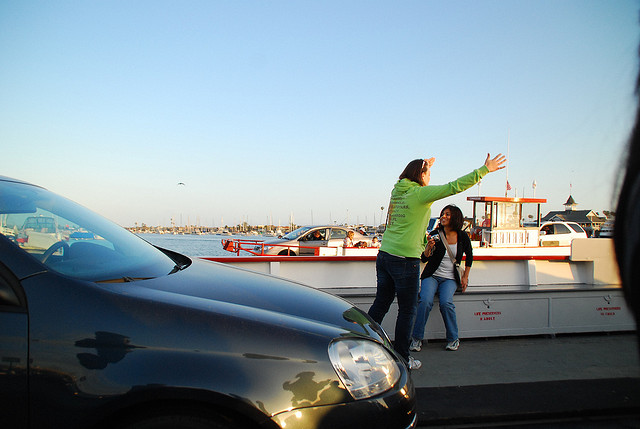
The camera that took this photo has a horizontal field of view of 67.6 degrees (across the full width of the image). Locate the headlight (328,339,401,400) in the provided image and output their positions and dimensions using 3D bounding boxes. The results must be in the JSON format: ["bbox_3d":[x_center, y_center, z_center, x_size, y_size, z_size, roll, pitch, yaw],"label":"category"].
[{"bbox_3d":[0.256,0.904,2.859,0.432,0.304,0.206,-1,2,-40],"label":"headlight"}]

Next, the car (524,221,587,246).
[{"bbox_3d":[8.219,0.703,16.904,2.009,0.838,1.145,3,-5,-15],"label":"car"}]

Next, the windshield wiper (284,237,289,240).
[{"bbox_3d":[-1.458,1.036,20.929,0.259,0.082,0.065,18,-13,-39],"label":"windshield wiper"}]

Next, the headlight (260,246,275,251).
[{"bbox_3d":[-2.048,1.324,19.075,0.420,0.124,0.186,1,2,16],"label":"headlight"}]

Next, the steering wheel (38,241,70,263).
[{"bbox_3d":[-1.648,0.219,2.977,0.111,0.027,0.112,8,42,-8],"label":"steering wheel"}]

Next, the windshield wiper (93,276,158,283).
[{"bbox_3d":[-1.186,0.401,2.967,0.064,0.025,0.376,2,2,44],"label":"windshield wiper"}]

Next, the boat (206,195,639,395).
[{"bbox_3d":[1.351,0.941,5.008,4.911,1.658,2.461,0,-4,-3],"label":"boat"}]
